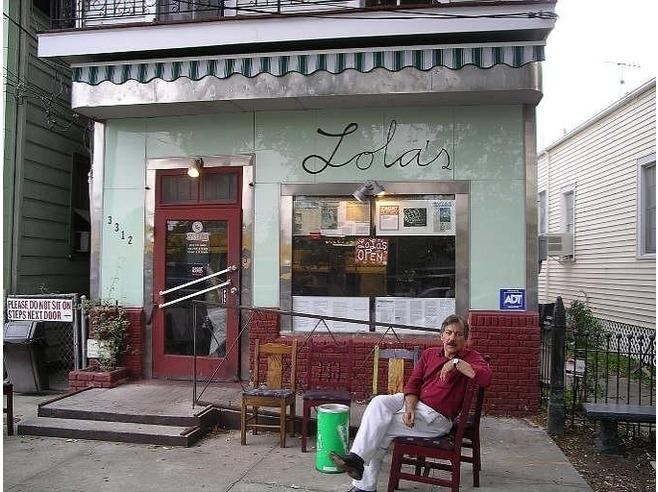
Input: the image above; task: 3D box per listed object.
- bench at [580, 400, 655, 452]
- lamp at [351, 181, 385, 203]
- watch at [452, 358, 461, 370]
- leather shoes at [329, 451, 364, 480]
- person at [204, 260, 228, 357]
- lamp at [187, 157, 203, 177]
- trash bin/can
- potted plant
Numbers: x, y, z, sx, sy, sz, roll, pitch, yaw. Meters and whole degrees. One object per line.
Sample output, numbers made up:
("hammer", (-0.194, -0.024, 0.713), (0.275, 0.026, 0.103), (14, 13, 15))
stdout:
("bench", (3.961, 2.378, 9.279), (0.877, 0.453, 0.626), (1, -22, 1))
("lamp", (0.559, -0.906, 10.861), (0.660, 0.462, 0.232), (7, 17, 13))
("watch", (1.539, 1.436, 8.063), (0.074, 0.111, 0.048), (8, 0, 26))
("leather shoes", (0.219, 2.667, 8.020), (0.476, 0.157, 0.221), (41, 34, 5))
("person", (-1.947, 1.107, 11.433), (0.327, 1.527, 0.463), (-2, 12, -11))
("lamp", (-2.292, -1.333, 11.376), (0.234, 0.344, 0.254), (3, 12, 13))
("trash bin/can", (-5.236, 1.927, 11.411), (0.654, 1.257, 0.272), (0, 11, -3))
("potted plant", (-4.060, 1.386, 11.747), (1.944, 2.068, 1.380), (-1, -3, 3))
